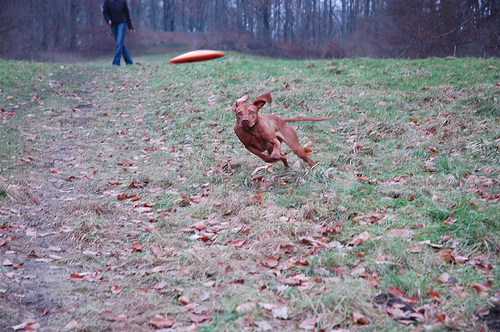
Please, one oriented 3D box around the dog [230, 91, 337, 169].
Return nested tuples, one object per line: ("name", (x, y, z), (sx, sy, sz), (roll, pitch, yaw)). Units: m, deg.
("dog", (0.747, -0.745, 12.350), (1.257, 1.730, 3.179), (-10, -7, 32))
